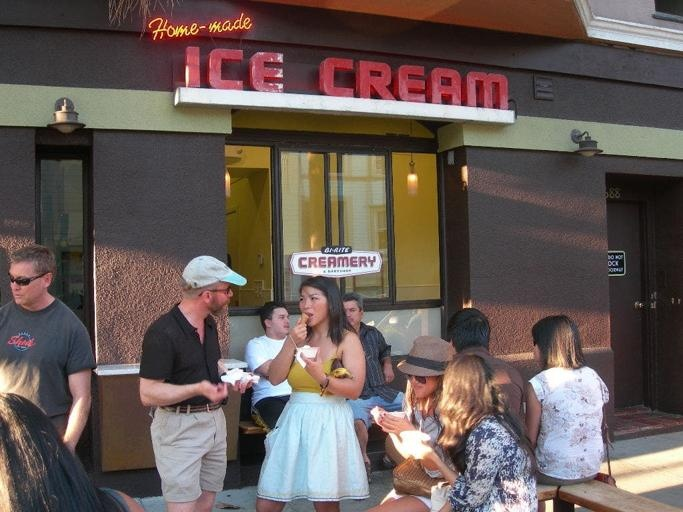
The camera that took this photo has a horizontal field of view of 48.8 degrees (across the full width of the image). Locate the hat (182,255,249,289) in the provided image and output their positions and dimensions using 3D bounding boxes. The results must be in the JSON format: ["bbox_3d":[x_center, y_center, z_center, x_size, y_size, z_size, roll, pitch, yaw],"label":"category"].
[{"bbox_3d":[-0.906,0.097,5.286,0.366,0.166,0.236,4,11,-12],"label":"hat"}]

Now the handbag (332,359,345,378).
[{"bbox_3d":[-0.018,0.840,5.585,0.042,0.102,0.103,-11,-34,-39],"label":"handbag"}]

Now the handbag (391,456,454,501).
[{"bbox_3d":[0.550,1.596,5.379,0.309,0.244,0.126,2,-10,26],"label":"handbag"}]

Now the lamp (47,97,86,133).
[{"bbox_3d":[-2.465,-1.257,6.736,0.310,0.308,0.305,-1,4,-25],"label":"lamp"}]

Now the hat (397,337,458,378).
[{"bbox_3d":[0.604,0.719,5.347,0.270,0.141,0.335,13,3,43],"label":"hat"}]

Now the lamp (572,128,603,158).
[{"bbox_3d":[2.768,-1.296,8.641,0.289,0.376,0.331,3,-7,-16],"label":"lamp"}]

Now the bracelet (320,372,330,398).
[{"bbox_3d":[-0.118,0.955,5.536,0.110,0.141,0.149,0,-18,-1],"label":"bracelet"}]

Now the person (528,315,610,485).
[{"bbox_3d":[1.754,1.122,5.905,0.583,1.341,0.324,-1,0,16],"label":"person"}]
